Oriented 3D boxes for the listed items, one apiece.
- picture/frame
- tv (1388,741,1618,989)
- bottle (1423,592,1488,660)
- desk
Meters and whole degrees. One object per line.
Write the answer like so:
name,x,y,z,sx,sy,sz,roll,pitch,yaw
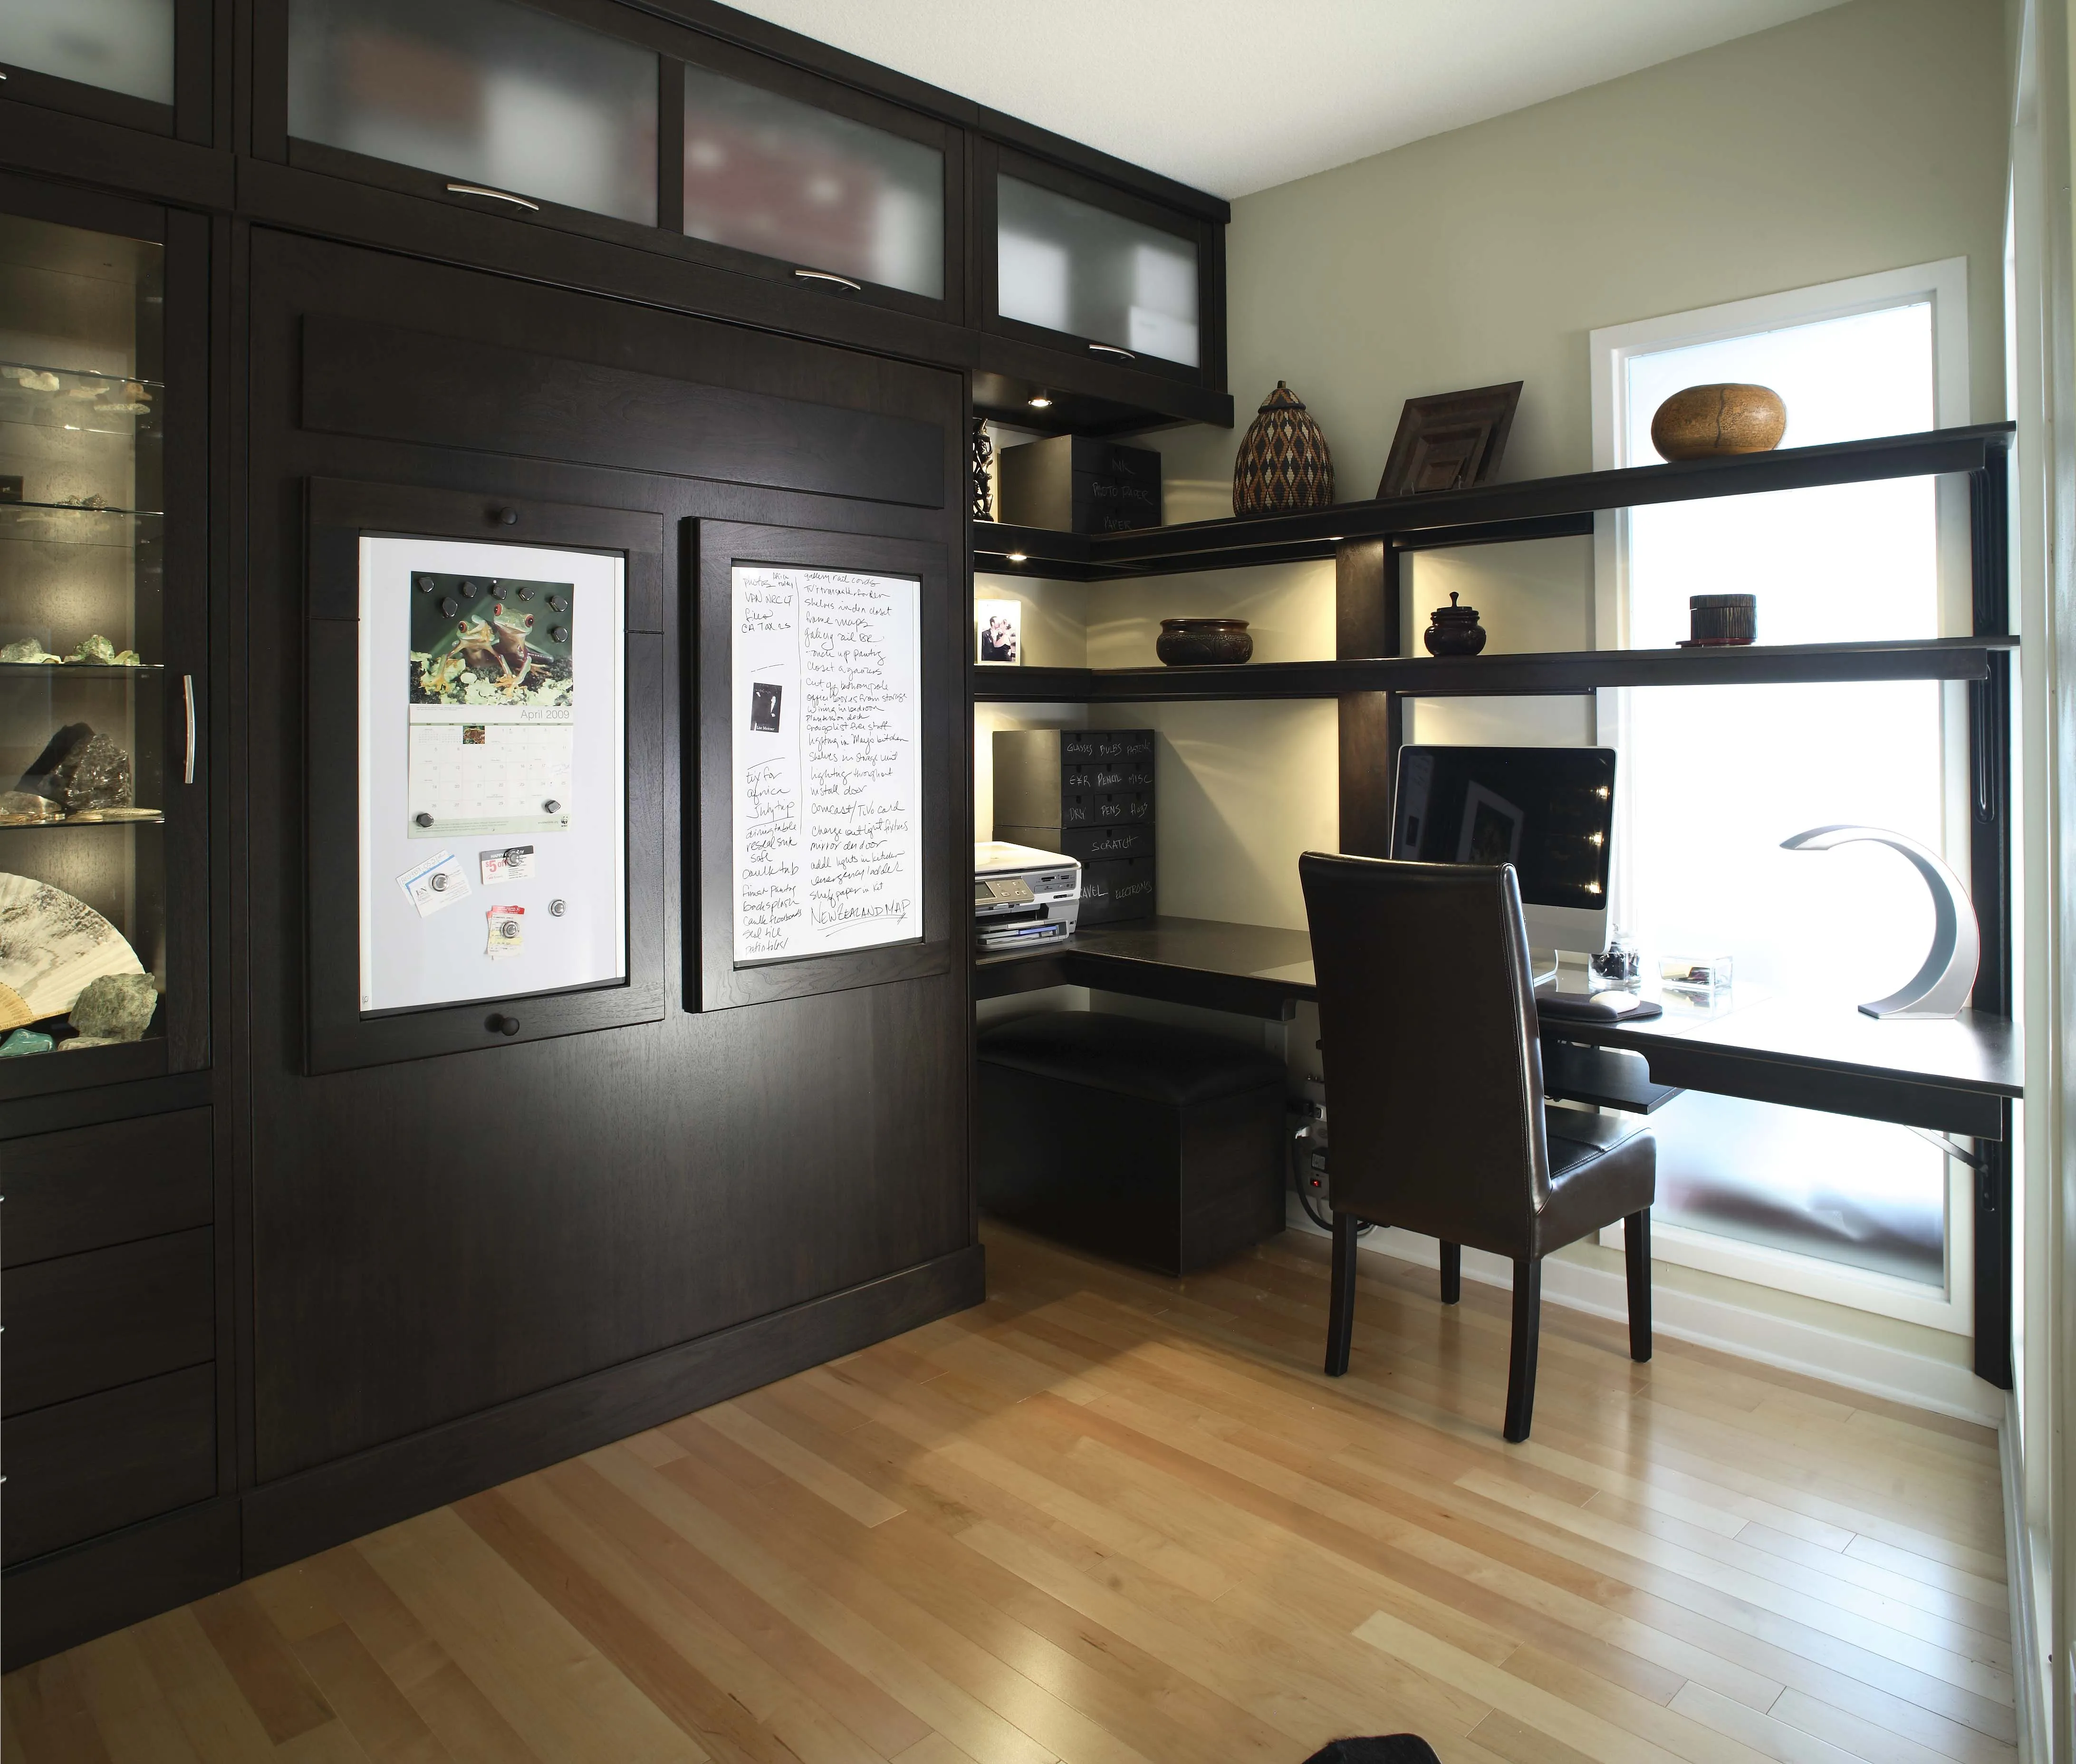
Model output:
picture/frame,-0.881,-0.222,3.190,0.070,0.967,1.287,4,6,42
tv,1.041,-0.027,3.499,0.174,0.573,0.535,3,-2,-39
bottle,1.012,-0.628,3.920,0.142,0.153,0.143,-4,6,-36
desk,1.033,0.531,3.849,2.316,0.754,0.951,7,14,32
